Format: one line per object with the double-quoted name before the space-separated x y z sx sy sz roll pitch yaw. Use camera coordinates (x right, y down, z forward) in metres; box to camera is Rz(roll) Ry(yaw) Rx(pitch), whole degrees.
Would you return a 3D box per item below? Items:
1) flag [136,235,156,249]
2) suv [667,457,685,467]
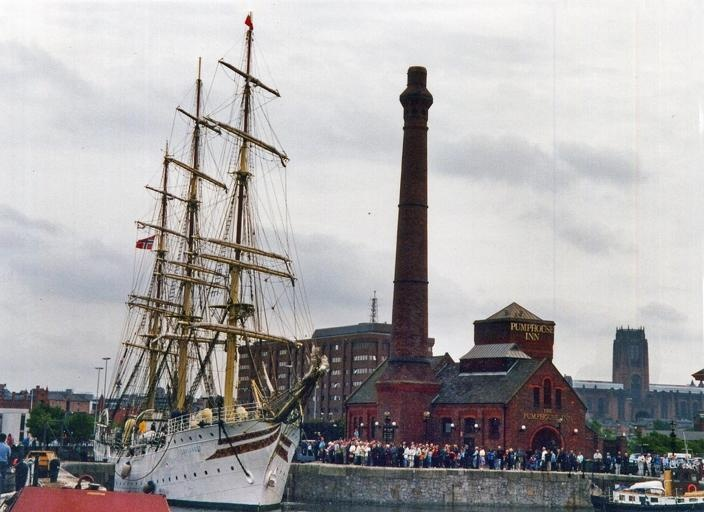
"flag" -16.808 -0.952 99.725 1.355 1.505 0.194 10 13 -5
"suv" 28.019 17.746 105.309 1.212 1.265 5.394 -1 -13 16
